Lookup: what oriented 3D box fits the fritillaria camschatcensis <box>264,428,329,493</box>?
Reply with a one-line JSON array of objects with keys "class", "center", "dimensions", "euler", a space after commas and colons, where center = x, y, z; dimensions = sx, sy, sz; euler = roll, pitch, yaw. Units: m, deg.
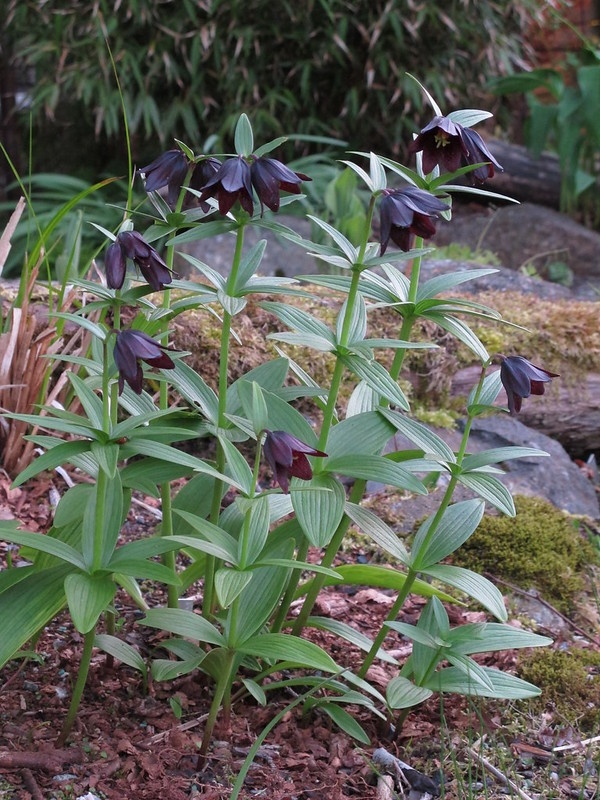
[{"class": "fritillaria camschatcensis", "center": [-0.014, 0.090, 1.450], "dimensions": [0.102, 0.052, 0.127], "euler": [-20, 34, -14]}]

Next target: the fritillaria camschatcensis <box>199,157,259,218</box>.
[{"class": "fritillaria camschatcensis", "center": [-0.129, -0.404, 1.522], "dimensions": [0.109, 0.099, 0.094], "euler": [15, 19, -15]}]

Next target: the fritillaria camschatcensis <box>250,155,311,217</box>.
[{"class": "fritillaria camschatcensis", "center": [-0.038, -0.408, 1.568], "dimensions": [0.098, 0.088, 0.181], "euler": [25, 19, 16]}]

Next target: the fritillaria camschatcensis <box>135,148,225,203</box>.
[{"class": "fritillaria camschatcensis", "center": [-0.243, -0.436, 1.696], "dimensions": [0.138, 0.059, 0.133], "euler": [21, 50, 38]}]
